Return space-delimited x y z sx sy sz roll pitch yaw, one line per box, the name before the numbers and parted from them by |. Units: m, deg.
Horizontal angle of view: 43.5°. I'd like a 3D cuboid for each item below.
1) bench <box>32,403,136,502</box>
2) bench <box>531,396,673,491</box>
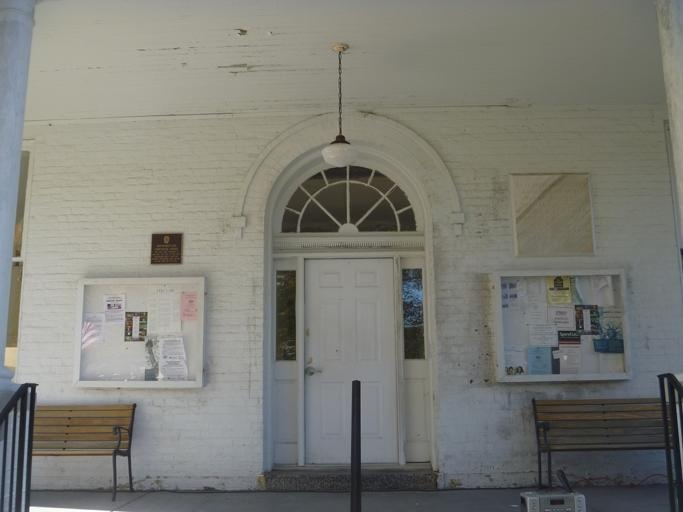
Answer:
bench | -2.741 2.107 9.198 1.591 0.826 0.573 -1 -16 2
bench | 2.812 1.899 9.059 1.512 0.644 0.461 0 17 -14
